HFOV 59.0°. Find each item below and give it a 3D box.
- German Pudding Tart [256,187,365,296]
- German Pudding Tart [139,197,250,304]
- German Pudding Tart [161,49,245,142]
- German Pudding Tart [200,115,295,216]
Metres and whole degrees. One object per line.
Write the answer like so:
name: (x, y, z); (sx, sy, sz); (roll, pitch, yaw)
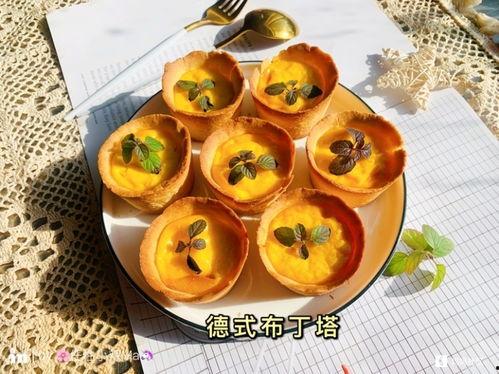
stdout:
German Pudding Tart: (0.302, 0.256, 2.181); (0.526, 0.140, 0.519); (38, 78, 14)
German Pudding Tart: (-0.297, 0.302, 2.236); (0.551, 0.199, 0.529); (41, 68, -26)
German Pudding Tart: (-0.276, -0.540, 2.733); (0.569, 0.365, 0.516); (-17, 78, -7)
German Pudding Tart: (0.005, -0.102, 2.440); (0.566, 0.258, 0.506); (25, 67, 8)
